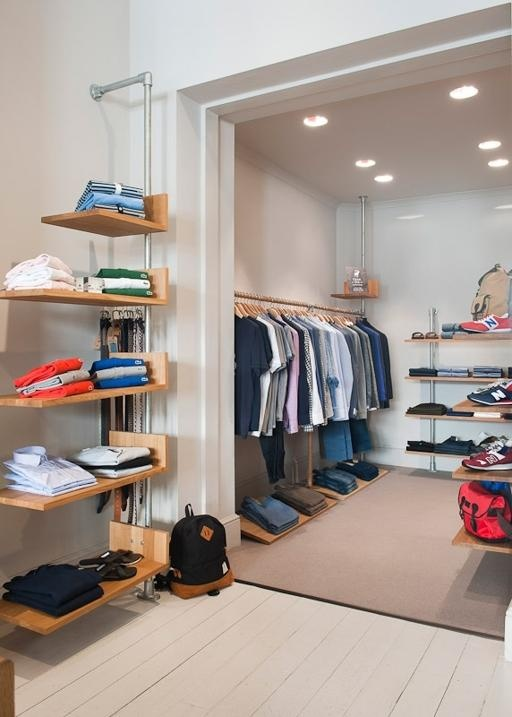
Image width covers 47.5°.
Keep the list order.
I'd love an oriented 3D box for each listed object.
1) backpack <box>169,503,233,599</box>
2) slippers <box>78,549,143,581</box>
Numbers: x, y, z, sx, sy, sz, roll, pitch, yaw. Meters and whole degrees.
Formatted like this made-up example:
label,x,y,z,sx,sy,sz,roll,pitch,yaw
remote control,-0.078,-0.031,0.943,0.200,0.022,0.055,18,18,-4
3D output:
label,x,y,z,sx,sy,sz,roll,pitch,yaw
backpack,-0.233,0.843,2.502,0.284,0.331,0.186,0,0,-8
slippers,-0.553,0.786,2.296,0.222,0.075,0.183,4,0,41
